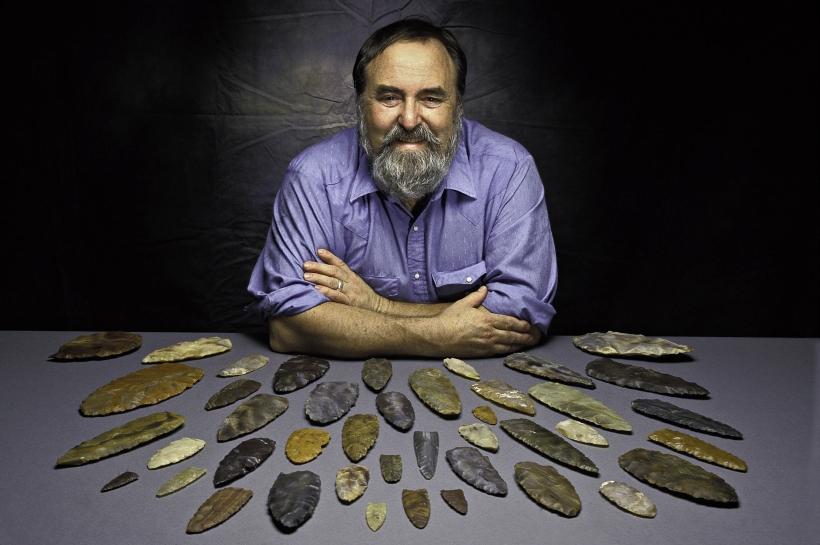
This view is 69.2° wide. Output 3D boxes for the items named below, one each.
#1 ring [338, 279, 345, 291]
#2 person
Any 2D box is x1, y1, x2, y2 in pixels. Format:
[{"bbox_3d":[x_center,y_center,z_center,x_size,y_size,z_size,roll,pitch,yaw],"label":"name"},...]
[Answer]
[{"bbox_3d":[-0.317,0.058,2.762,0.043,0.054,0.015,-1,-5,-12],"label":"ring"},{"bbox_3d":[-0.032,-0.430,2.838,1.554,1.334,1.019,-1,25,-4],"label":"person"}]
